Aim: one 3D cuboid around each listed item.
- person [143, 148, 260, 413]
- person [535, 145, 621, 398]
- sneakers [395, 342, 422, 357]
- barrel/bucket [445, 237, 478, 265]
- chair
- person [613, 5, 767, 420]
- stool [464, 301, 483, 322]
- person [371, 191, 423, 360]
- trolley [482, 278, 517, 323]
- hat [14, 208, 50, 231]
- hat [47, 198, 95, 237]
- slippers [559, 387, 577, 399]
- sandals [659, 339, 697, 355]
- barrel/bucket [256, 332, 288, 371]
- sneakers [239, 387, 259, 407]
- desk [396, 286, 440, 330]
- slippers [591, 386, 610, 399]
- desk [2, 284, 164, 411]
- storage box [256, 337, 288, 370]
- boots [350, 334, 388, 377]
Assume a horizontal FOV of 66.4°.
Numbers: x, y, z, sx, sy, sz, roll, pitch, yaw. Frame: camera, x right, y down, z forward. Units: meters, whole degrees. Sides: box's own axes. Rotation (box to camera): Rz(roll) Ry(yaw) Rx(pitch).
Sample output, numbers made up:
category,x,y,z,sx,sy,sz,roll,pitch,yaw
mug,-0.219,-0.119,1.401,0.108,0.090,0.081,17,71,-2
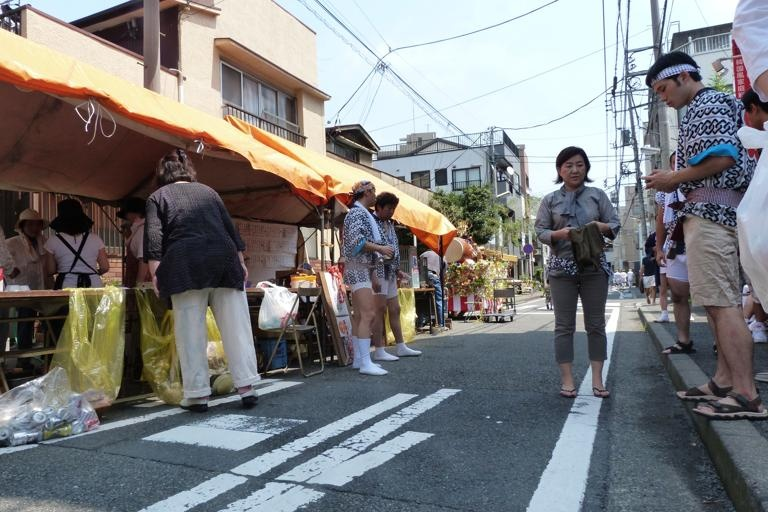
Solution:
category,x,y,z,sx,sy,sz,roll,pitch,yaw
person,-1.818,0.175,5.761,0.879,2.638,0.696,-5,-12,-22
person,1.878,0.164,5.712,0.783,2.441,0.575,1,5,20
sneakers,0.366,1.336,8.288,0.448,0.226,0.148,-3,-6,7
barrel/bucket,1.993,-0.193,15.187,0.488,0.627,1.196,2,6,25
chair,-1.118,0.924,7.293,0.732,1.013,0.723,-6,-6,44
person,2.586,-0.223,4.684,0.700,2.944,0.973,-3,5,-23
stool,2.228,1.375,14.537,0.456,0.476,0.471,-2,-3,20
person,0.122,0.256,7.582,0.734,2.218,0.675,0,-7,-27
trolley,2.875,1.031,13.946,0.778,1.020,0.797,5,-8,-38
hat,-4.637,-0.493,7.667,0.323,0.207,0.365,1,-10,-25
hat,-3.590,-0.500,6.722,0.486,0.336,0.465,-1,12,-42
slippers,1.800,1.321,5.688,0.156,0.085,0.138,1,6,14
sandals,3.506,1.070,6.959,0.445,0.186,0.160,0,-2,17
barrel/bucket,-1.419,1.227,7.447,0.279,0.347,0.346,-2,-4,-34
sneakers,-1.302,1.362,5.630,0.091,0.112,0.257,1,1,0
desk,0.759,1.091,12.011,0.673,0.781,0.847,-1,-2,-15
slippers,2.115,1.318,5.691,0.161,0.104,0.173,2,6,22
desk,-2.932,0.799,5.823,1.254,1.267,0.980,1,3,24
storage box,-1.446,1.235,7.440,0.378,0.346,0.312,-9,-7,23
boots,-0.196,1.188,7.078,0.302,0.446,0.651,-4,7,-31
